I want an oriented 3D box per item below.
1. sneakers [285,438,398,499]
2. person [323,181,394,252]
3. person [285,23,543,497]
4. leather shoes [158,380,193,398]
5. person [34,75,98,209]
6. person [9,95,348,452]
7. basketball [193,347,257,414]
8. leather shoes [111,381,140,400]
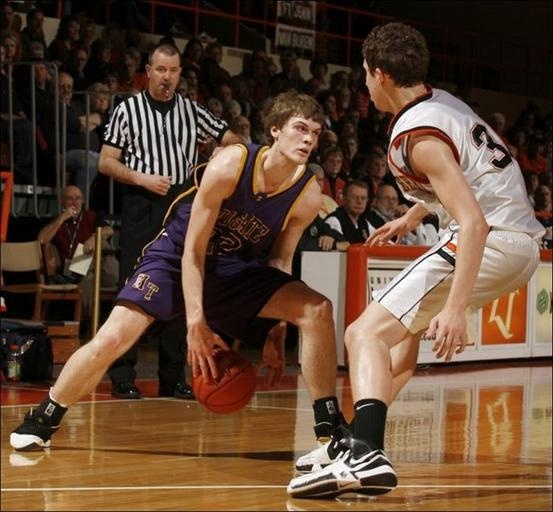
[{"bbox_3d":[0.160,0.653,1.949,0.405,0.193,0.138,-11,-37,22],"label":"sneakers"},{"bbox_3d":[0.780,-0.394,6.239,0.869,0.686,0.454,-3,7,-27],"label":"person"},{"bbox_3d":[0.456,-0.013,2.041,0.576,1.520,0.716,-2,-5,42],"label":"person"},{"bbox_3d":[-0.610,0.813,3.870,0.233,0.089,0.087,-3,-5,27],"label":"leather shoes"},{"bbox_3d":[-2.074,-1.245,6.810,0.712,1.331,0.560,-2,23,9],"label":"person"},{"bbox_3d":[-0.294,0.063,2.606,1.462,1.412,0.615,2,6,4],"label":"person"},{"bbox_3d":[-0.231,0.489,2.532,0.258,0.241,0.245,14,-42,-33],"label":"basketball"},{"bbox_3d":[-0.885,0.800,3.742,0.187,0.078,0.076,-4,-5,34],"label":"leather shoes"}]
